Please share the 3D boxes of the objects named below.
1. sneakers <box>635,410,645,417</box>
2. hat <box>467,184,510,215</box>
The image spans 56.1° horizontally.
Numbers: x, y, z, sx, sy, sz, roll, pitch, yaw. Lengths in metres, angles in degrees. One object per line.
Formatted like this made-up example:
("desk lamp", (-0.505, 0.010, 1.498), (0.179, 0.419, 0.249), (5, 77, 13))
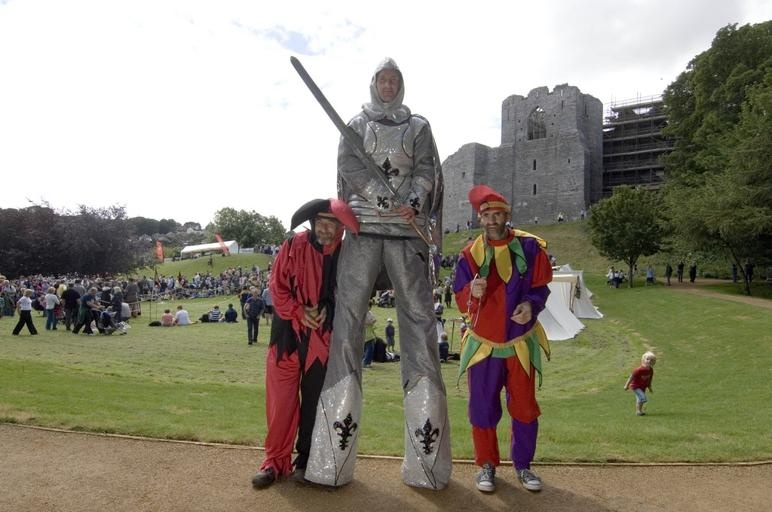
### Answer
("sneakers", (6.849, 4.235, 19.534), (0.090, 0.187, 0.265), (-8, -23, -9))
("hat", (2.250, -1.171, 15.875), (0.783, 0.559, 0.399), (25, 7, -42))
